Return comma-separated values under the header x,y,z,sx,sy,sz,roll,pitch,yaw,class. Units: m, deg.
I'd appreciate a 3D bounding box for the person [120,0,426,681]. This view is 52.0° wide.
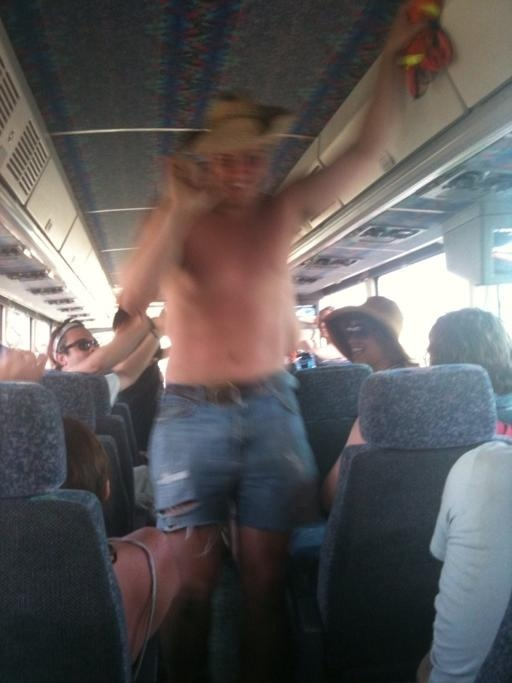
x,y,z,sx,sy,sz,roll,pitch,yaw,class
-0.025,0.205,1.460,0.617,1.655,0.612,-2,-2,10,person

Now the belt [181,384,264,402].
x,y,z,sx,sy,sz,roll,pitch,yaw,class
-0.098,0.150,1.494,0.219,0.057,0.052,-2,-2,4,belt

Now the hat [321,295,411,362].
x,y,z,sx,sy,sz,roll,pitch,yaw,class
0.737,-0.129,3.558,0.532,0.322,0.733,7,14,17,hat
